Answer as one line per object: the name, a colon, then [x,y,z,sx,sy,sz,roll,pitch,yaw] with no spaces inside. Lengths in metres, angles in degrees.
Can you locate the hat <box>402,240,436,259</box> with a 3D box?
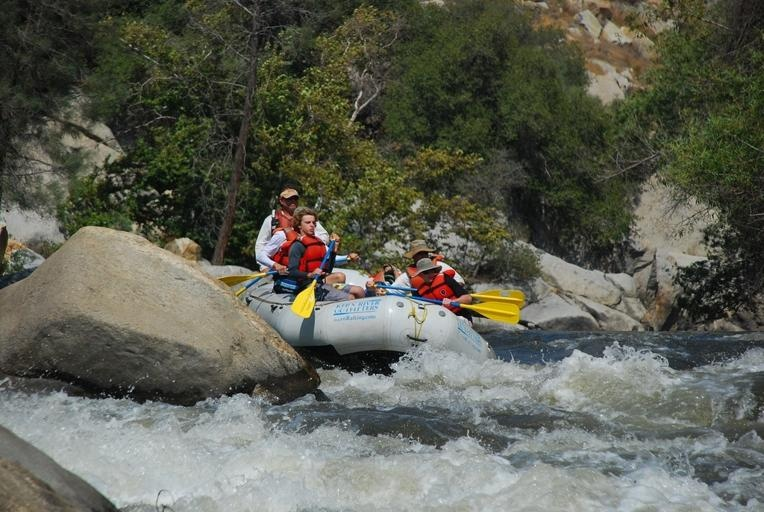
hat: [0.837,-0.155,30.095,0.509,0.247,0.522,-19,-1,-40]

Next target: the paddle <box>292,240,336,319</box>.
paddle: [-1.698,0.802,28.987,0.542,2.841,0.240,19,-34,5]

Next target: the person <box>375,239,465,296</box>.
person: [0.965,0.222,30.004,1.825,0.926,1.383,17,2,-17]
